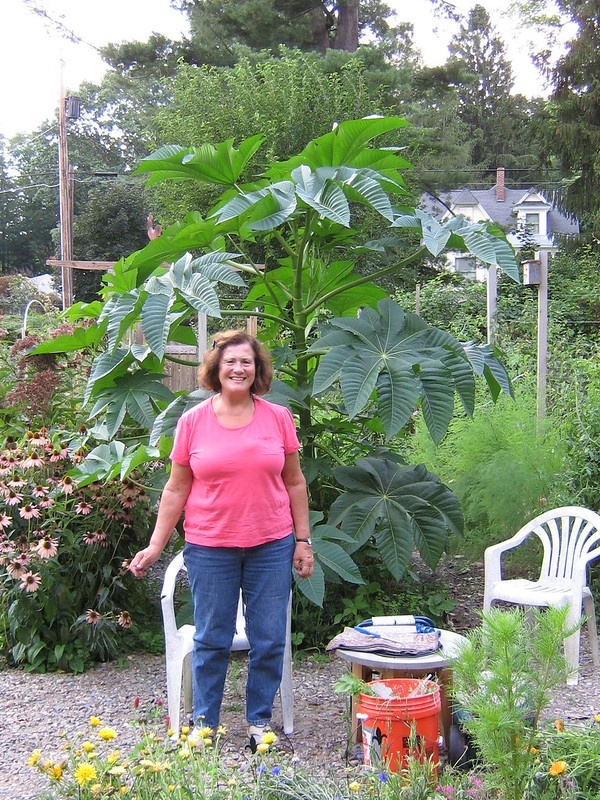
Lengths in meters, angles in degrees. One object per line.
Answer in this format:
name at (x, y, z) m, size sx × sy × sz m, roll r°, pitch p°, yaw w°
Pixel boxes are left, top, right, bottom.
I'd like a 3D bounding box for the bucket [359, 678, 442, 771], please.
bucket at (0.240, 0.859, 2.126) m, size 0.282 × 0.235 × 0.246 m, roll 0°, pitch -6°, yaw 0°
